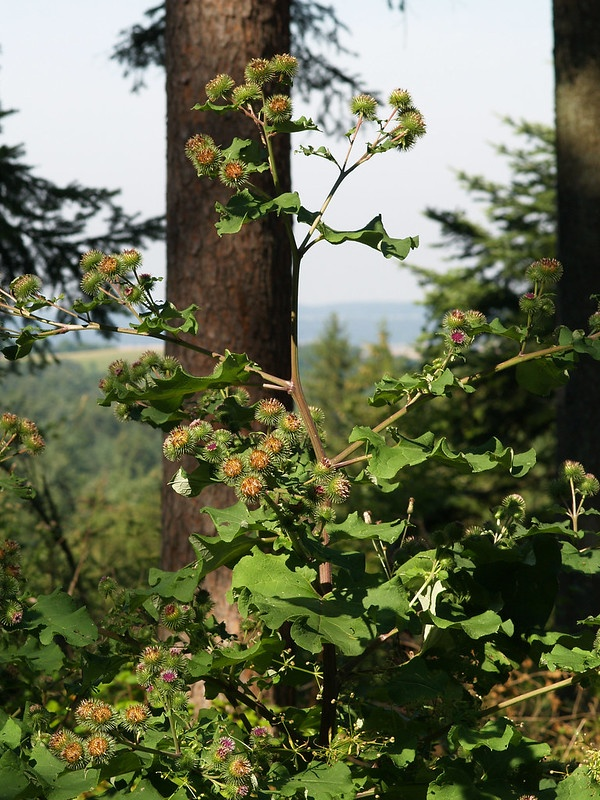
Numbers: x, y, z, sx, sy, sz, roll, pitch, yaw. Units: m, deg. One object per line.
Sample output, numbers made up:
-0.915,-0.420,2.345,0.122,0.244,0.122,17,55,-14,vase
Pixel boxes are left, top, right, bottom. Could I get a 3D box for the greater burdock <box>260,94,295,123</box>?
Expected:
-0.069,-0.855,4.298,0.082,0.102,0.127,2,-5,-12,greater burdock
